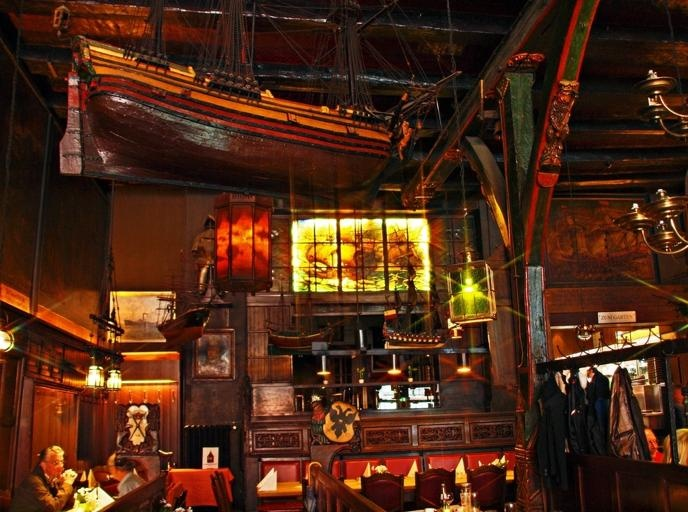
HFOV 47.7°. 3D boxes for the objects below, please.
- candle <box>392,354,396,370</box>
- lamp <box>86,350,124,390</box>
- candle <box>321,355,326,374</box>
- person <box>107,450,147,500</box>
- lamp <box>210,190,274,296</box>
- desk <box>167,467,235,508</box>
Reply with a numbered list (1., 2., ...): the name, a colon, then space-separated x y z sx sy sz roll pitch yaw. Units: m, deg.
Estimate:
1. candle: 0.912 1.952 14.248 0.083 0.255 0.194 -2 -12 3
2. lamp: -4.182 1.978 13.495 0.410 0.745 0.995 -5 -15 5
3. candle: -0.381 1.983 14.218 0.105 0.265 0.217 -2 -12 0
4. person: -3.123 3.147 11.080 0.452 0.584 1.118 2 -12 -18
5. lamp: -1.265 -0.200 9.710 0.666 1.193 0.271 1 -13 -13
6. desk: -2.763 4.532 15.096 1.277 0.771 0.842 1 -12 -14
